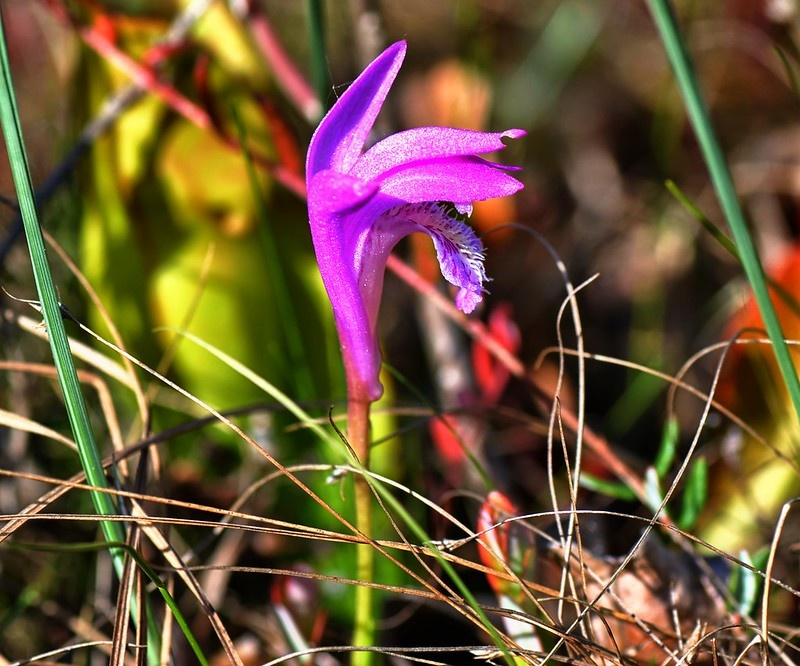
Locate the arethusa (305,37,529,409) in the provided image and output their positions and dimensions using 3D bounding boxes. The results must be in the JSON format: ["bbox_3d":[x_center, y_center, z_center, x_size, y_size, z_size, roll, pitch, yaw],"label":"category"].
[{"bbox_3d":[0.006,-0.059,1.093,0.192,0.423,0.346,0,-11,-3],"label":"arethusa"}]
